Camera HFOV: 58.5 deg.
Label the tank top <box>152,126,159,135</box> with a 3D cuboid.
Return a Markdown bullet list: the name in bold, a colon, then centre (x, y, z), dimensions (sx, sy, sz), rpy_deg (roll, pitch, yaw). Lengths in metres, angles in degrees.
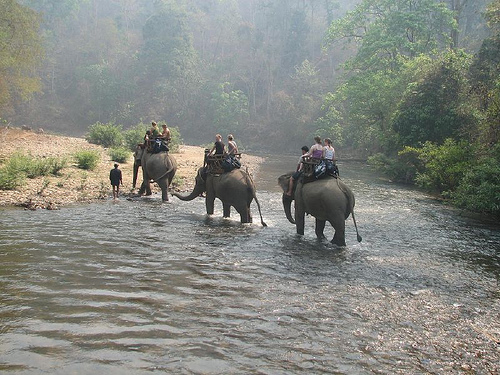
- **tank top**: centre (-3.722, -2.231, 17.669), dimensions (0.129, 0.287, 0.307), rpy_deg (5, 5, 31)

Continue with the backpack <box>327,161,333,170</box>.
- **backpack**: centre (2.302, -0.656, 12.933), dimensions (0.162, 0.271, 0.292), rpy_deg (2, 1, 23)

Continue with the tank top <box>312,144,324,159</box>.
- **tank top**: centre (1.910, -1.075, 13.226), dimensions (0.340, 0.420, 0.241), rpy_deg (12, 9, 2)

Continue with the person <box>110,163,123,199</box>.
- **person**: centre (-4.980, -0.253, 16.535), dimensions (0.391, 1.283, 1.059), rpy_deg (1, 5, -17)

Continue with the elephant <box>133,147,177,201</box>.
- **elephant**: centre (-3.907, -0.551, 18.013), dimensions (1.238, 1.933, 3.543), rpy_deg (-3, 11, -36)

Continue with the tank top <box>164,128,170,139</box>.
- **tank top**: centre (-3.348, -2.177, 17.950), dimensions (0.226, 0.421, 0.470), rpy_deg (2, 5, -4)

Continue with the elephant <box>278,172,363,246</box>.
- **elephant**: centre (2.140, 0.550, 13.636), dimensions (1.527, 1.992, 3.052), rpy_deg (0, 5, -24)

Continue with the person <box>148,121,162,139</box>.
- **person**: centre (-3.810, -2.311, 17.974), dimensions (0.415, 0.710, 1.383), rpy_deg (2, 5, -6)
